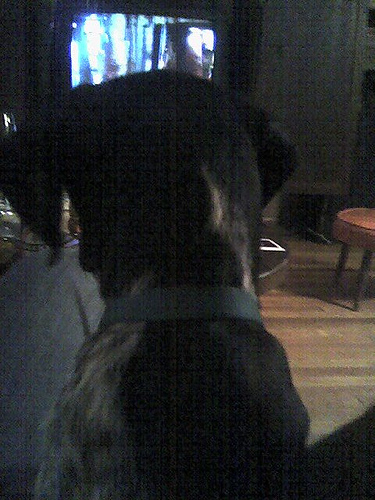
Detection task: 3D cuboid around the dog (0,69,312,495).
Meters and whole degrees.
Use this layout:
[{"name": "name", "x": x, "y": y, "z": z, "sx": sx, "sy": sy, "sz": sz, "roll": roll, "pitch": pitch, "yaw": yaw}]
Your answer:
[{"name": "dog", "x": -0.025, "y": 0.130, "z": 0.978, "sx": 0.405, "sy": 0.789, "sz": 0.551, "roll": -2, "pitch": 33, "yaw": -1}]
